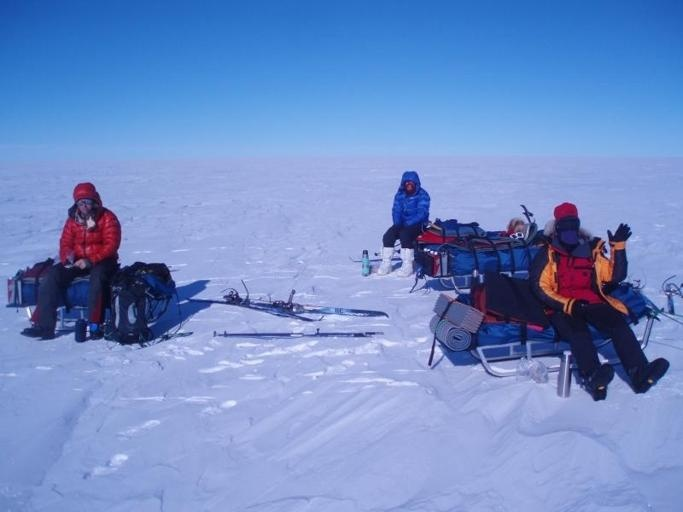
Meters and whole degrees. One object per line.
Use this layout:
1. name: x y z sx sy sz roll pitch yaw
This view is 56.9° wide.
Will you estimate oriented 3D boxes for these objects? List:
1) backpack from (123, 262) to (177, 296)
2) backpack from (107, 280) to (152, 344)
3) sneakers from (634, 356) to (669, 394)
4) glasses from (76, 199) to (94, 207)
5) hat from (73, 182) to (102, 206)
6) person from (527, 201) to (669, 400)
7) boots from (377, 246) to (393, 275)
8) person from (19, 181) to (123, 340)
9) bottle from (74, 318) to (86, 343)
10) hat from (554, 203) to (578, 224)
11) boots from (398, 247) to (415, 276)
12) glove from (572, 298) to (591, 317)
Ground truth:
1. backpack: -2.699 0.296 8.828 0.588 0.227 0.554 8 8 -7
2. backpack: -2.798 0.767 8.299 0.513 0.820 0.219 0 8 -6
3. sneakers: 3.328 1.297 6.788 0.165 0.453 0.189 47 -1 -4
4. glasses: -3.559 -0.720 8.777 0.139 0.137 0.168 -8 -8 -43
5. hat: -3.573 -0.869 8.908 0.300 0.301 0.401 0 8 5
6. person: 2.880 0.353 7.268 1.051 1.399 2.449 -2 32 1
7. boots: 0.798 0.084 11.492 0.270 0.513 0.293 2 8 4
8. person: -3.621 0.056 8.624 1.082 2.076 0.829 -1 8 -11
9. bottle: -3.472 0.997 8.394 0.140 0.299 0.129 1 8 0
10. hat: 2.732 -0.517 7.578 0.227 0.250 0.303 0 -3 -3
11. boots: 1.173 0.096 11.320 0.244 0.515 0.411 2 8 7
12. glove: 2.779 0.610 7.303 0.251 0.201 0.094 -4 9 -31
